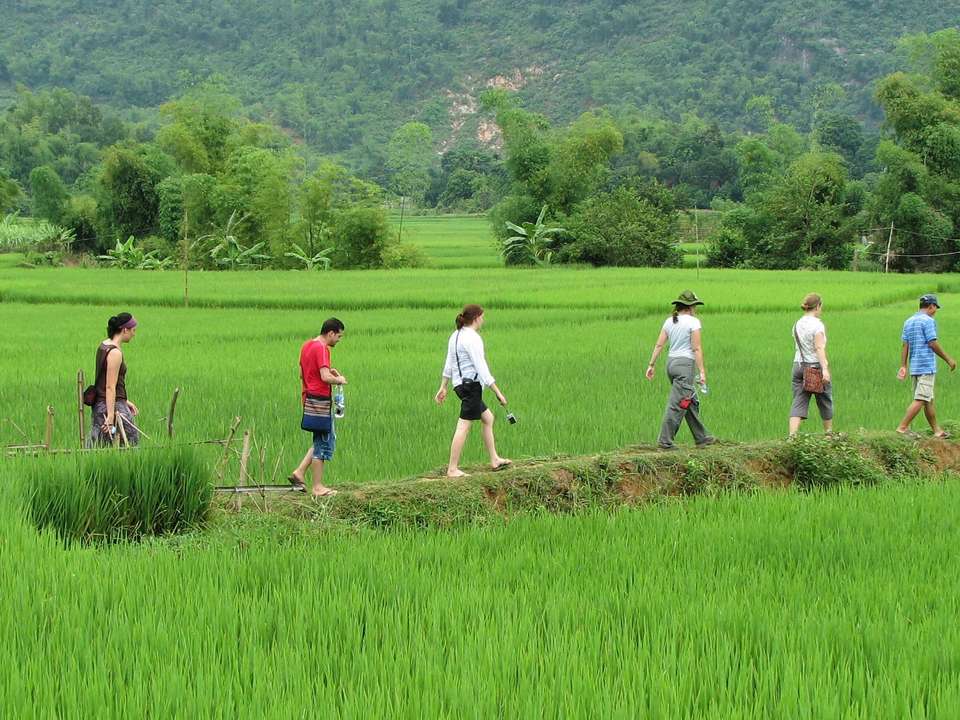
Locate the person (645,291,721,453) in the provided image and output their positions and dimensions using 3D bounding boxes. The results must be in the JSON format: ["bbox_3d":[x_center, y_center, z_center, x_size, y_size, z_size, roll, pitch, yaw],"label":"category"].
[{"bbox_3d":[3.200,0.139,19.980,0.941,2.425,0.928,-5,5,-39],"label":"person"}]

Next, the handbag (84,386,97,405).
[{"bbox_3d":[-5.485,0.491,17.859,0.193,0.250,0.224,-2,1,14],"label":"handbag"}]

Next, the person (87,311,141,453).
[{"bbox_3d":[-5.198,0.283,17.901,0.743,1.888,0.817,-3,4,-14],"label":"person"}]

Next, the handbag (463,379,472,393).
[{"bbox_3d":[-0.180,0.374,18.482,0.133,0.152,0.034,4,1,24],"label":"handbag"}]

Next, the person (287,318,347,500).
[{"bbox_3d":[-2.320,0.638,18.191,0.798,2.470,1.208,-3,4,-8],"label":"person"}]

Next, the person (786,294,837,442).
[{"bbox_3d":[5.321,0.068,20.436,0.672,2.245,0.642,-1,4,16],"label":"person"}]

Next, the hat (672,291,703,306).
[{"bbox_3d":[3.310,-0.960,20.189,0.364,0.206,0.406,2,1,13],"label":"hat"}]

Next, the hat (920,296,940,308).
[{"bbox_3d":[7.337,-0.973,20.671,0.207,0.184,0.310,8,10,34],"label":"hat"}]
